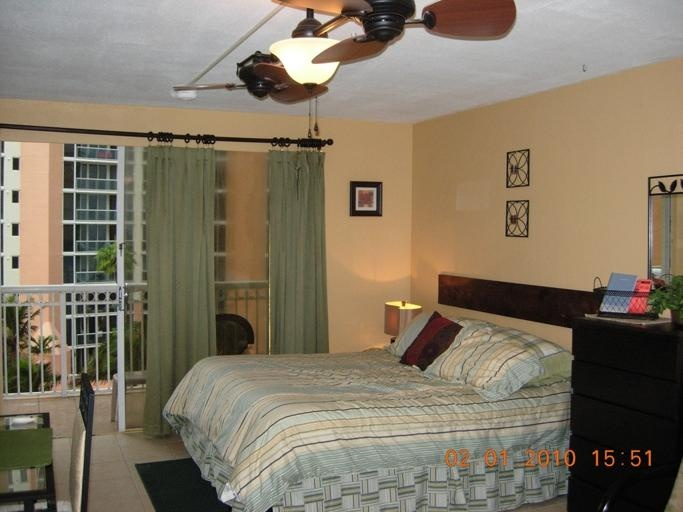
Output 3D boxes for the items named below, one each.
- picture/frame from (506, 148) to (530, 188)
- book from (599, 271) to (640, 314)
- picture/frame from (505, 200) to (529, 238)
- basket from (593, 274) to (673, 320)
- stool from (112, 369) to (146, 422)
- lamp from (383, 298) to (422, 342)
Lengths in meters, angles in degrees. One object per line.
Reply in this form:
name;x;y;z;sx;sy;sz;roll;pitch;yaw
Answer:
picture/frame;1.561;-0.775;5.122;0.062;0.330;0.259;-5;7;-24
book;1.836;0.244;3.809;0.207;0.350;0.038;16;-13;38
picture/frame;1.565;-0.338;5.140;0.016;0.385;0.319;-4;7;-34
basket;1.931;0.248;3.869;0.435;0.284;0.558;1;7;24
stool;-2.126;1.327;5.818;0.509;0.460;0.485;0;1;-24
lamp;0.635;0.661;5.966;0.387;0.411;0.387;0;-3;18
